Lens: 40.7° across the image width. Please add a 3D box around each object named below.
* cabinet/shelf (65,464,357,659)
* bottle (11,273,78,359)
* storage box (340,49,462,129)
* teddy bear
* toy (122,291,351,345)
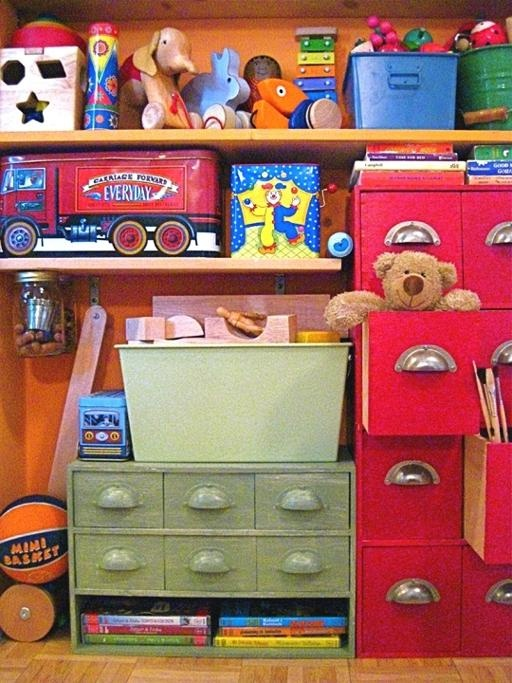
[{"bbox_3d":[-0.117,0.493,1.912,0.807,0.441,0.456,0,7,0],"label":"cabinet/shelf"},{"bbox_3d":[-0.573,-0.058,1.869,0.145,0.233,0.133,4,13,-1],"label":"bottle"},{"bbox_3d":[0.366,-0.628,1.736,0.266,0.207,0.214,0,2,2],"label":"storage box"},{"bbox_3d":[0.334,-0.117,1.588,0.337,0.189,0.260,-2,12,-9],"label":"teddy bear"},{"bbox_3d":[-0.081,-0.064,1.845,0.524,0.155,0.147,0,8,2],"label":"toy"}]
